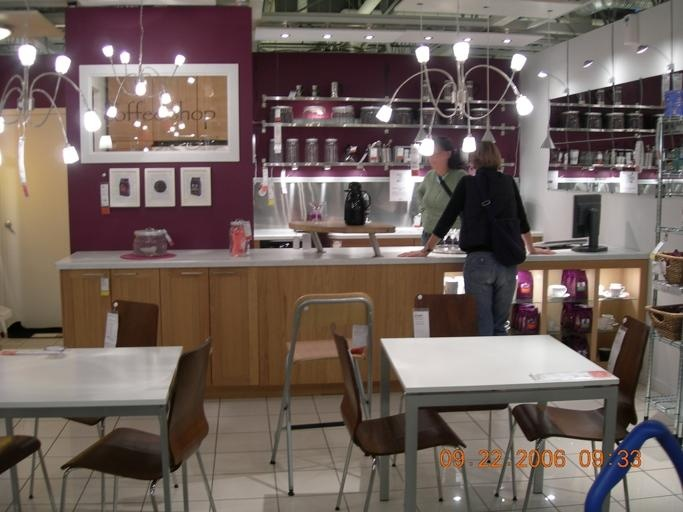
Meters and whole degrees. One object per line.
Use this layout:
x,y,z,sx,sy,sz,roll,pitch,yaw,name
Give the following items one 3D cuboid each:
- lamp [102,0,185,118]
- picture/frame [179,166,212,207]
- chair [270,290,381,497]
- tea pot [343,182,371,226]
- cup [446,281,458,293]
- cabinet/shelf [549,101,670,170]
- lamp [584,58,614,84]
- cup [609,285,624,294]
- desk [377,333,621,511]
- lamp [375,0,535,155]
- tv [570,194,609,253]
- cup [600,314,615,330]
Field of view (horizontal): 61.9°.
-1.742,-1.804,5.060,0.742,1.089,0.965,-3,6,-20,lamp
-1.410,-0.664,5.509,0.287,0.378,0.020,0,0,8,picture/frame
-0.104,0.911,4.044,0.788,1.335,0.836,0,0,-32,chair
0.143,-0.469,5.028,0.212,0.381,0.377,0,6,3,tea pot
1.009,0.285,5.195,0.096,0.110,0.094,1,6,0,cup
2.801,-1.248,6.013,0.145,0.607,1.254,-8,15,-36,cabinet/shelf
2.775,-1.999,6.130,0.328,0.308,0.194,-11,14,-32,lamp
2.622,0.311,5.435,0.088,0.065,0.086,0,4,0,cup
0.846,0.759,3.221,1.028,0.684,1.016,0,6,-4,desk
1.005,-1.383,4.754,1.287,0.824,1.145,-6,28,-8,lamp
2.331,-0.311,5.350,0.355,0.543,0.270,0,6,6,tv
2.523,0.648,5.451,0.156,0.121,0.103,0,2,7,cup
